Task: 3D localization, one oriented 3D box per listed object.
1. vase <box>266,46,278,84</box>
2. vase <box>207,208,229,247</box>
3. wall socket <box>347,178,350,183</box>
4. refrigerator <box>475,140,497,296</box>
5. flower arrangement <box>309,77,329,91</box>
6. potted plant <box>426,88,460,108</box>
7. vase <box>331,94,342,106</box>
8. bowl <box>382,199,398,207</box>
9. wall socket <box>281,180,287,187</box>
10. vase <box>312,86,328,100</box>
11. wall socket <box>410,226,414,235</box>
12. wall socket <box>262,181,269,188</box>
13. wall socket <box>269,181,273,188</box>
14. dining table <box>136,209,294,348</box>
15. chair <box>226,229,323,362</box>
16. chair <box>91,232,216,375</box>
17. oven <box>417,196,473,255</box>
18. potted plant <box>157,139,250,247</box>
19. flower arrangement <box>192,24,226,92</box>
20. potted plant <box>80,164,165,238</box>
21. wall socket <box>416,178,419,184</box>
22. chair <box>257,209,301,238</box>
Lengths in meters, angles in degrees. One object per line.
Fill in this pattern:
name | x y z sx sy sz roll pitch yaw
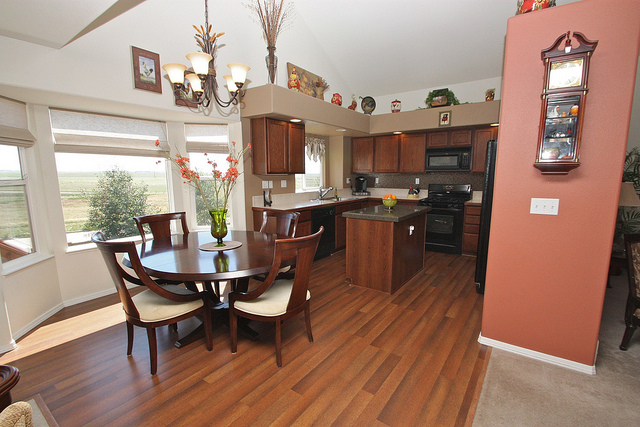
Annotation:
vase | -0.671 -2.033 5.375 0.150 0.433 0.546 -4 8 -5
vase | -1.149 0.172 4.369 0.263 0.420 0.249 -4 2 -4
wall socket | 0.581 -0.695 8.062 0.009 0.092 0.093 6 16 35
refrigerator | 2.170 0.066 5.078 0.211 2.005 0.443 1 11 22
flower arrangement | -0.018 -2.140 6.466 0.218 0.185 0.220 0 3 21
potted plant | 2.115 -2.003 6.756 0.590 0.394 0.326 7 19 32
vase | 0.276 -1.986 6.719 0.189 0.184 0.158 -4 14 -4
bowl | 0.995 -0.154 5.554 0.133 0.086 0.130 -1 2 0
wall socket | -0.633 -0.518 6.650 0.017 0.105 0.123 -2 6 36
vase | -0.001 -2.009 6.453 0.237 0.204 0.119 -2 9 1
wall socket | 1.293 0.242 5.452 0.039 0.137 0.133 0 9 18
wall socket | -0.888 -0.472 6.306 0.012 0.110 0.144 4 11 35
wall socket | -0.817 -0.480 6.410 0.021 0.107 0.081 2 10 24
dining table | -1.231 0.627 4.582 1.773 1.382 1.854 2 -2 -6
chair | -0.456 0.833 4.219 0.954 1.267 0.888 0 7 18
chair | -1.750 0.874 4.116 0.812 1.390 0.987 11 14 42
oven | 2.279 0.159 7.094 0.808 1.071 0.723 5 10 36
potted plant | -1.256 -0.171 4.422 0.931 1.031 0.862 -2 3 13
flower arrangement | -1.372 -1.875 4.807 0.416 0.752 0.445 16 31 15
potted plant | -2.839 -0.140 5.531 1.114 1.092 0.968 -2 -7 7
wall socket | 1.924 -0.638 7.620 0.060 0.110 0.027 4 12 36
chair | -0.524 0.133 5.128 0.284 0.538 0.310 -9 15 -42
